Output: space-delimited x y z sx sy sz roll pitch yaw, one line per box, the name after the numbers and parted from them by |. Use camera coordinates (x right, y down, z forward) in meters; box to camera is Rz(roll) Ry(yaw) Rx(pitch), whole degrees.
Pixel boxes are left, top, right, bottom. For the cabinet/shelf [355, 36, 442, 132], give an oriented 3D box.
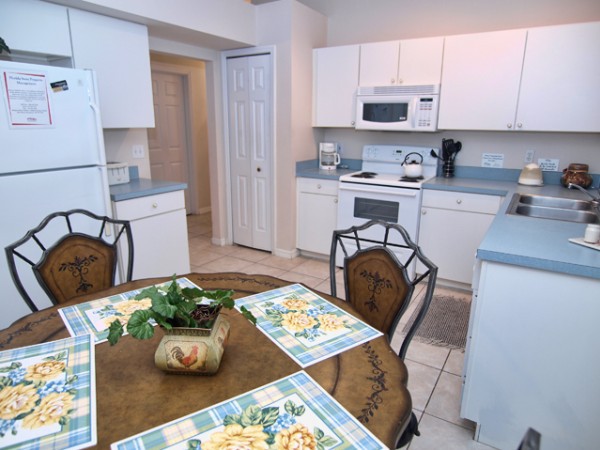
0.941 -1.314 3.587 0.891 0.857 0.466 6 11 35 | cabinet/shelf

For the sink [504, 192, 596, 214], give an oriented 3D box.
1.891 -0.178 2.879 0.376 0.112 0.320 6 21 30 | sink

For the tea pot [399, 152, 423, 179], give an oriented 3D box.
1.098 -0.593 3.779 0.207 0.241 0.308 6 17 14 | tea pot

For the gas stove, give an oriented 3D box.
0.884 -0.563 3.831 0.855 0.379 0.606 13 25 37 | gas stove

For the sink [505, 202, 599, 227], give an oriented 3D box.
1.826 -0.075 2.752 0.346 0.121 0.279 9 24 32 | sink

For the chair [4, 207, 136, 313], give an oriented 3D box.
-1.324 0.197 2.136 0.536 0.758 0.464 13 25 42 | chair

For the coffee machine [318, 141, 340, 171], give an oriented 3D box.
0.310 -0.751 4.179 0.287 0.368 0.282 -1 7 -2 | coffee machine

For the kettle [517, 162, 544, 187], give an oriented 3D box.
1.998 -0.438 3.326 0.207 0.194 0.177 -17 21 -42 | kettle

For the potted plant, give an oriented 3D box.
-0.399 0.350 1.320 0.321 0.291 0.225 1 17 -1 | potted plant
